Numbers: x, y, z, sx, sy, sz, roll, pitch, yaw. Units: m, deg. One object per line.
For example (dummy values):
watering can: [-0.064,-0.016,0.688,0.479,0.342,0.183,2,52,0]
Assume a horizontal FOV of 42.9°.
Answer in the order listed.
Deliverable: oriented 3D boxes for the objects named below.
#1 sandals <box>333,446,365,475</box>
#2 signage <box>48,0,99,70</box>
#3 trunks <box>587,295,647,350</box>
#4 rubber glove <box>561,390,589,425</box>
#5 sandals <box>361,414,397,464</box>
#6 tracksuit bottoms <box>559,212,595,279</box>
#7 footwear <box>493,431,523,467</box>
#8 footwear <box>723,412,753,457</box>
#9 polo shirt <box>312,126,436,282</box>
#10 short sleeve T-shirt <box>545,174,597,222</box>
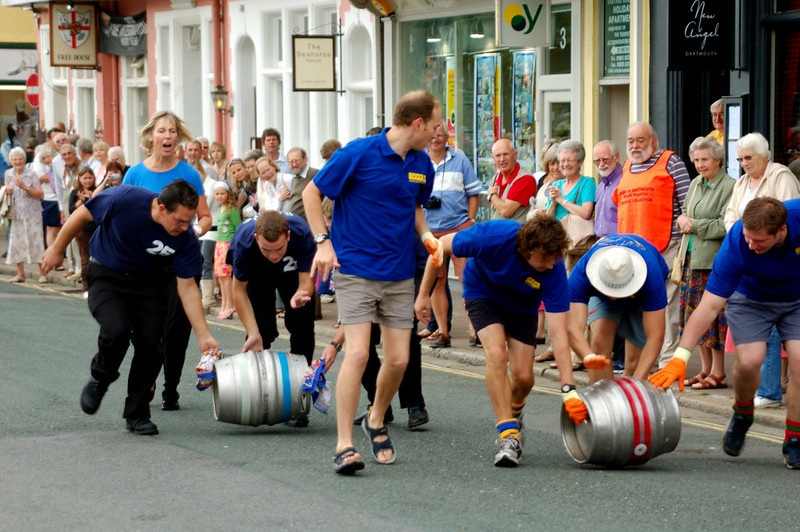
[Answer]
sandals: [-0.364,1.391,7.295,0.213,0.221,0.178,-1,8,-4]
signage: [-7.651,-5.514,24.028,1.516,2.144,0.171,-1,5,-6]
trunks: [1.803,0.424,8.378,0.386,0.463,0.181,7,47,11]
rubber glove: [1.262,1.008,7.356,0.158,0.221,0.080,-34,-8,27]
sandals: [-0.161,1.255,7.668,0.150,0.135,0.439,-13,53,-20]
tracksuit bottoms: [1.603,-0.205,9.222,0.357,0.680,0.557,1,7,24]
footwear: [0.801,1.346,7.588,0.198,0.261,0.273,0,8,4]
footwear: [2.588,1.291,7.930,0.144,0.443,0.187,15,9,18]
polo shirt: [-0.223,-0.433,7.417,0.932,1.071,0.415,-1,7,-6]
short sleeve T-shirt: [1.745,-0.690,10.401,0.518,0.510,0.298,-3,-7,42]
